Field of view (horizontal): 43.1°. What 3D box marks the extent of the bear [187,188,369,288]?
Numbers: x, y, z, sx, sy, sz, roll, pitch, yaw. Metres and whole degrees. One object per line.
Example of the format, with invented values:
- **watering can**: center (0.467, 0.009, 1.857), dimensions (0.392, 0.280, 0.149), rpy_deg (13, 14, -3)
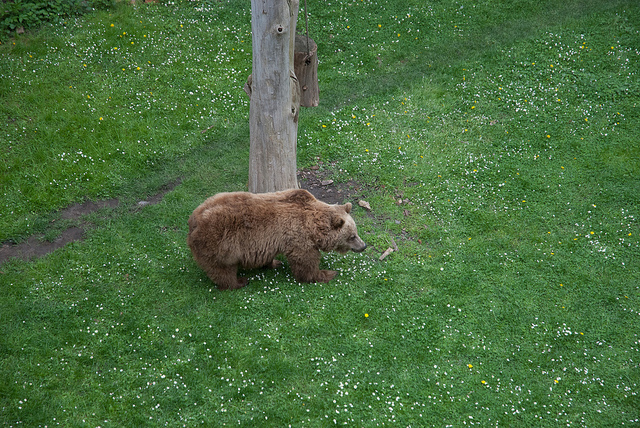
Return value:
- **bear**: center (-0.920, 0.477, 18.409), dimensions (3.913, 2.177, 1.763), rpy_deg (-1, 33, -5)
